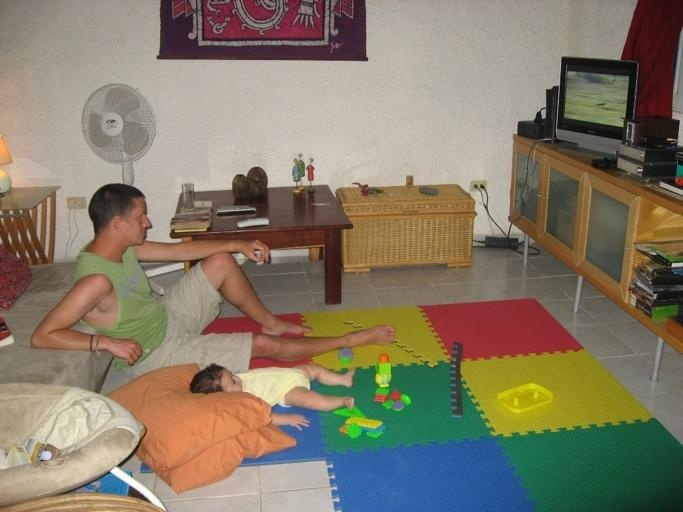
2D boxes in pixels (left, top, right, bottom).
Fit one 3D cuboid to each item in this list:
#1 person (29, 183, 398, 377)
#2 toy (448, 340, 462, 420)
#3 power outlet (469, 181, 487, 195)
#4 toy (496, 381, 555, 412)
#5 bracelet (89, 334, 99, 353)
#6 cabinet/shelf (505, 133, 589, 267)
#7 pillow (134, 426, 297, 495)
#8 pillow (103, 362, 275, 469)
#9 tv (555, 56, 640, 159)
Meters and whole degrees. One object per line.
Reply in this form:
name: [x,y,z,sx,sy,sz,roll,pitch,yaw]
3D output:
person: [-0.691,0.128,3.013,1.801,0.996,0.821,-3,26,-24]
toy: [0.682,0.775,3.128,0.115,1.043,0.041,-27,51,-10]
power outlet: [1.294,-0.661,4.992,0.157,0.114,0.026,-1,17,-3]
toy: [1.012,0.782,2.887,0.228,0.069,0.137,-11,26,-25]
bracelet: [-1.160,0.410,2.472,0.041,0.071,0.019,0,-12,-7]
cabinet/shelf: [1.789,-0.476,4.296,0.347,0.728,1.226,-6,22,-5]
pillow: [-0.610,0.915,2.508,0.473,0.145,0.441,-6,12,-33]
pillow: [-0.694,0.831,2.609,0.672,0.225,0.567,1,4,-36]
tv: [1.961,-1.150,3.927,0.230,0.644,0.636,-24,32,-26]
